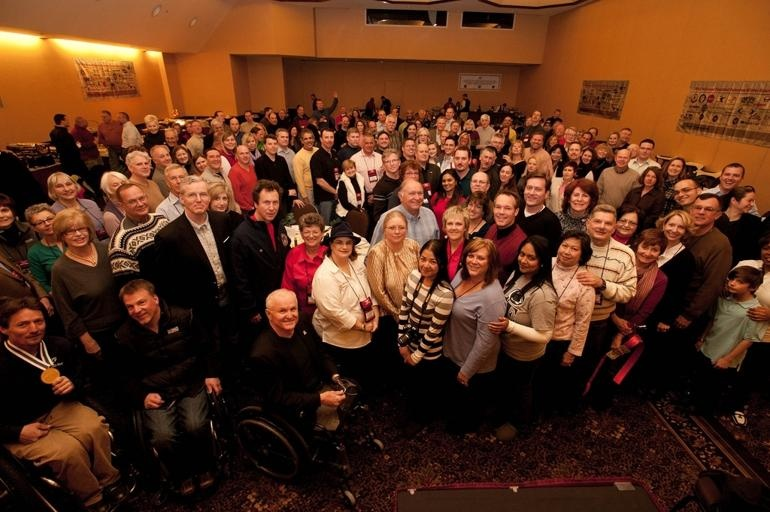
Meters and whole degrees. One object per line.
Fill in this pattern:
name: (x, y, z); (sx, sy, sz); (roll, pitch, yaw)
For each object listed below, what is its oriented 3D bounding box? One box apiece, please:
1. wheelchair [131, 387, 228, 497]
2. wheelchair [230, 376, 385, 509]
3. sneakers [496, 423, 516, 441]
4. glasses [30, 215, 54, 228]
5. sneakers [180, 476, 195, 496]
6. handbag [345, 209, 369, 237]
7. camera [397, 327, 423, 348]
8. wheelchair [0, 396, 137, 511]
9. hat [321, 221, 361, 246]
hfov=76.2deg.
wheelchair: (-2.238, 2.079, 5.426); (0.722, 0.843, 0.670); (-10, 30, -24)
wheelchair: (-0.734, 2.045, 5.911); (1.386, 1.689, 1.196); (17, 29, 17)
sneakers: (1.418, 2.066, 5.803); (0.187, 0.189, 0.142); (32, 63, -10)
glasses: (-4.055, -0.411, 5.813); (0.155, 0.066, 0.189); (-3, 45, -15)
sneakers: (-2.144, 2.507, 5.337); (0.151, 0.183, 0.166); (-4, 26, 4)
handbag: (-0.377, -0.463, 6.888); (0.334, 0.345, 0.082); (14, 17, 28)
camera: (0.276, 0.953, 5.606); (0.276, 0.272, 0.120); (13, 28, 19)
wheelchair: (-3.398, 2.108, 5.196); (0.603, 1.010, 0.668); (-15, 38, 31)
hat: (-0.510, -0.233, 5.686); (0.292, 0.145, 0.311); (0, -12, -2)
